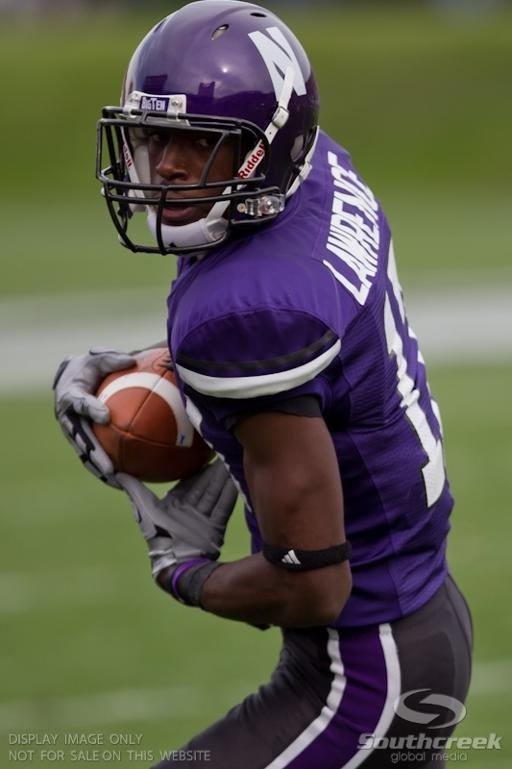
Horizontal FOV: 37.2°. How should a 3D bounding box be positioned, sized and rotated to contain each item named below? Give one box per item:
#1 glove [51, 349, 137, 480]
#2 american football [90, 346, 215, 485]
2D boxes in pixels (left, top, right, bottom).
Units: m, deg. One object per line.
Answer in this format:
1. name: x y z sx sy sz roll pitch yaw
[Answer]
1. glove: -0.384 0.052 1.679 0.131 0.212 0.278 -11 53 -2
2. american football: -0.219 0.087 1.698 0.254 0.211 0.290 15 -7 -1
